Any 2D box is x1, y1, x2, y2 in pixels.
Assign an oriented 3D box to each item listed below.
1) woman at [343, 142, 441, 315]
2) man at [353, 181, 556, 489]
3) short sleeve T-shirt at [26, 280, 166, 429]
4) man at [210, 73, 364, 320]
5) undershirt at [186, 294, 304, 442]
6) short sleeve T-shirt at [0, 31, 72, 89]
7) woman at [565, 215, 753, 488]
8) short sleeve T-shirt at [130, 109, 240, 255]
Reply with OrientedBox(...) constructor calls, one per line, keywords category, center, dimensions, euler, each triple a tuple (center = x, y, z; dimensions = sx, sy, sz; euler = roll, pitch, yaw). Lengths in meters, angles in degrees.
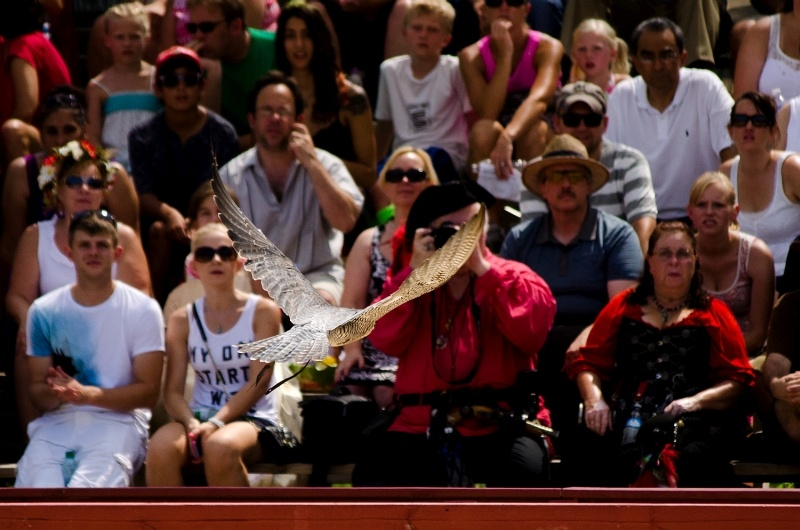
OrientedBox(category="woman", center=(-0.013, -0.052, 13.406), dimensions=(0.792, 1.789, 0.532), euler=(1, -10, 4))
OrientedBox(category="man", center=(0.462, 0.632, 12.533), dimensions=(1.584, 2.049, 1.323), euler=(-5, -13, 33))
OrientedBox(category="short sleeve T-shirt", center=(-2.225, 0.703, 13.056), dimensions=(1.188, 1.050, 0.588), euler=(1, 16, 15))
OrientedBox(category="man", center=(-0.962, -0.558, 14.008), dimensions=(1.235, 1.904, 1.450), euler=(0, 6, 42))
OrientedBox(category="undershirt", center=(-1.297, 0.832, 12.823), dimensions=(0.774, 1.106, 1.121), euler=(-14, 19, -15))
OrientedBox(category="short sleeve T-shirt", center=(-3.262, -1.831, 15.326), dimensions=(0.364, 0.569, 0.631), euler=(-19, 10, 26))
OrientedBox(category="woman", center=(1.863, 0.685, 12.440), dimensions=(0.923, 1.863, 1.093), euler=(-12, 17, -42))
OrientedBox(category="short sleeve T-shirt", center=(-1.922, -0.845, 14.662), dimensions=(1.070, 0.893, 0.358), euler=(1, 1, -1))
